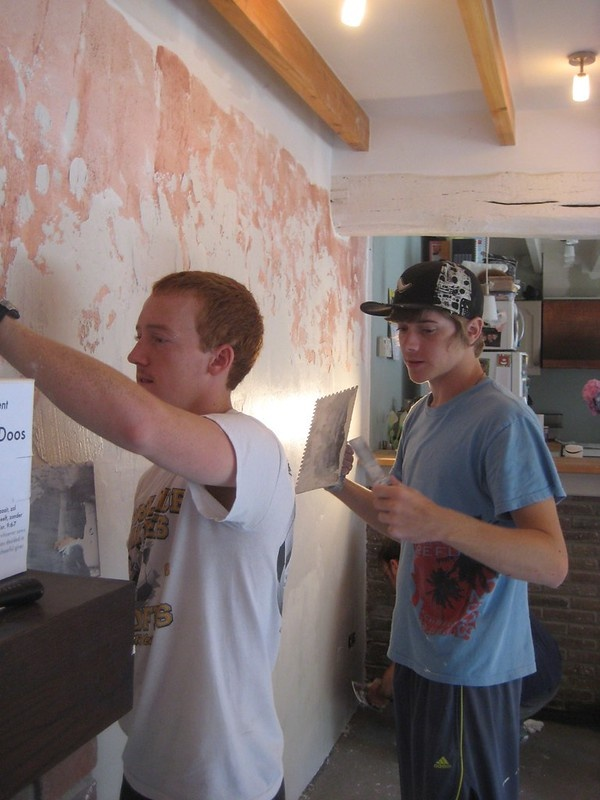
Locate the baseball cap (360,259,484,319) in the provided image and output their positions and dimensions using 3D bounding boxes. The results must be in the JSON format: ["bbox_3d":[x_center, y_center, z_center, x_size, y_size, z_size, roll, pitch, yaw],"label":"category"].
[{"bbox_3d":[0.320,-0.289,1.697,0.267,0.122,0.164,9,4,-4],"label":"baseball cap"}]
